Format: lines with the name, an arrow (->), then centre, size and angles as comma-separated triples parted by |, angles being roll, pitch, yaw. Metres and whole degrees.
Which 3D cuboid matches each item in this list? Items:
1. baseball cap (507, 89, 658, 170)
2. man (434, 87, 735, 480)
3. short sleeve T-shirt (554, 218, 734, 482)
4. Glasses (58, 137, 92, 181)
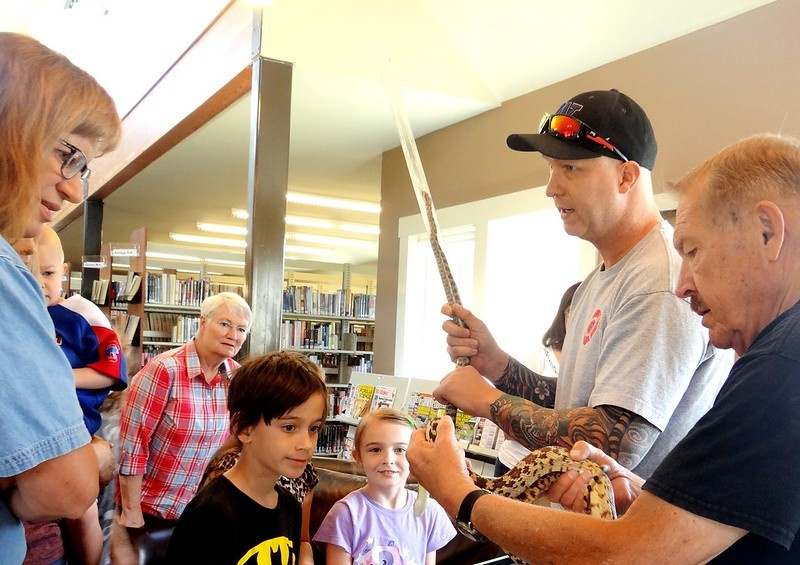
baseball cap -> 0.592, -0.495, 1.833 | 0.498, 0.257, 0.362 | 2, 16, -23
man -> 0.648, -0.041, 2.450 | 1.079, 1.887, 1.150 | 3, -2, 5
short sleeve T-shirt -> 0.701, 0.262, 1.797 | 0.388, 0.684, 0.793 | 7, -7, 9
Glasses -> -0.759, -0.280, 1.328 | 0.069, 0.023, 0.069 | 31, 6, 28
